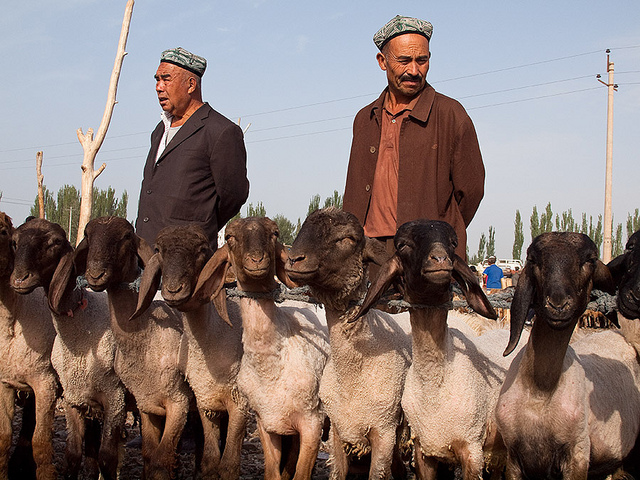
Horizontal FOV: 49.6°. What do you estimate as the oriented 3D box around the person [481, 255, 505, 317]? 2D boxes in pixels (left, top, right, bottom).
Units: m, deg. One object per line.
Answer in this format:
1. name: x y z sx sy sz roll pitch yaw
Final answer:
1. person: 4.767 0.982 18.765 0.507 0.527 1.524 1 -44 16
